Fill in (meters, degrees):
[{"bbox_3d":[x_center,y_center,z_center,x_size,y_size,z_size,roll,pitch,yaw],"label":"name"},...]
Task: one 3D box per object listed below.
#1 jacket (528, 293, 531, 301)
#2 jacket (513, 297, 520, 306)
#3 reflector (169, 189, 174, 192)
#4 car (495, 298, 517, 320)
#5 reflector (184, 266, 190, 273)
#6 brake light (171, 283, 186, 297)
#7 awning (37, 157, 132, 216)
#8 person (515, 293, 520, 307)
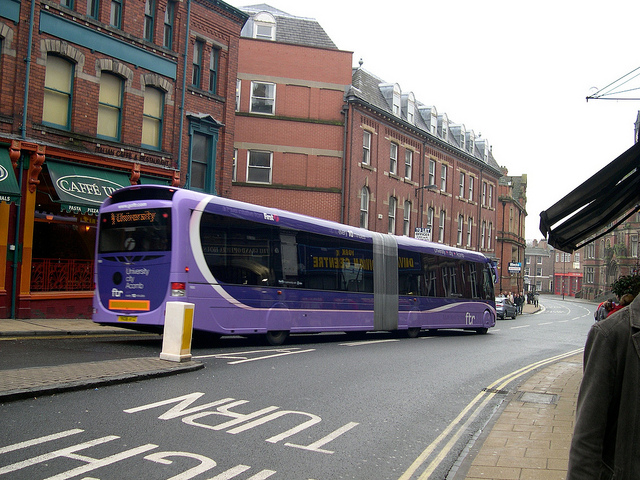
[{"bbox_3d":[27.801,7.670,77.135,0.366,1.142,1.995,-4,-11,19],"label":"jacket"},{"bbox_3d":[17.147,5.438,50.581,0.436,0.756,1.010,-5,-11,19],"label":"jacket"},{"bbox_3d":[-3.410,-1.108,13.291,0.088,0.063,0.023,-5,-9,15],"label":"reflector"},{"bbox_3d":[13.386,5.029,41.774,0.775,1.577,3.337,-6,-12,28],"label":"car"},{"bbox_3d":[-3.008,0.686,13.124,0.127,0.140,0.032,5,-10,-33],"label":"reflector"},{"bbox_3d":[-3.168,1.140,13.005,0.248,0.316,0.273,0,-7,19],"label":"brake light"},{"bbox_3d":[-7.578,-1.585,19.235,1.159,1.609,2.935,22,11,42],"label":"awning"},{"bbox_3d":[17.407,5.413,51.286,0.209,1.035,0.900,-6,-9,41],"label":"person"}]
